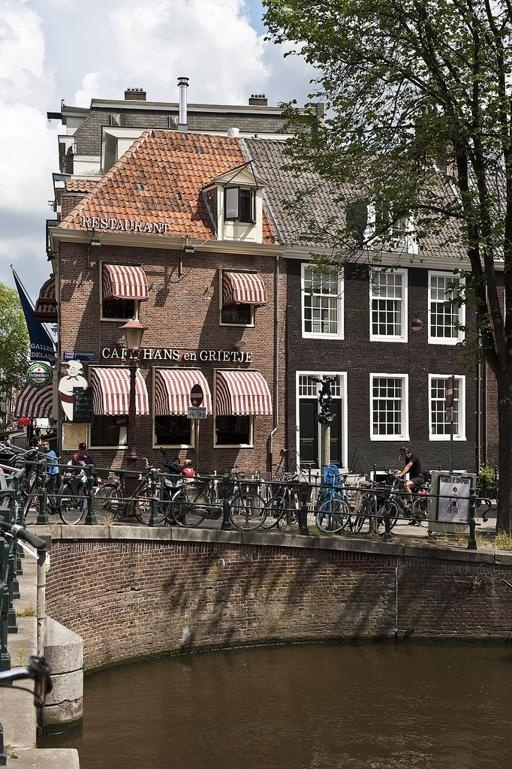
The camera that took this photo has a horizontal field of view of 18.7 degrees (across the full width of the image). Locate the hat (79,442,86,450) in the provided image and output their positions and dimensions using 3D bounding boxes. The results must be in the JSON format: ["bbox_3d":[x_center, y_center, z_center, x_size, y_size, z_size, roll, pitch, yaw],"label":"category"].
[{"bbox_3d":[-3.241,1.181,29.254,0.102,0.116,0.106,-10,2,-28],"label":"hat"}]
